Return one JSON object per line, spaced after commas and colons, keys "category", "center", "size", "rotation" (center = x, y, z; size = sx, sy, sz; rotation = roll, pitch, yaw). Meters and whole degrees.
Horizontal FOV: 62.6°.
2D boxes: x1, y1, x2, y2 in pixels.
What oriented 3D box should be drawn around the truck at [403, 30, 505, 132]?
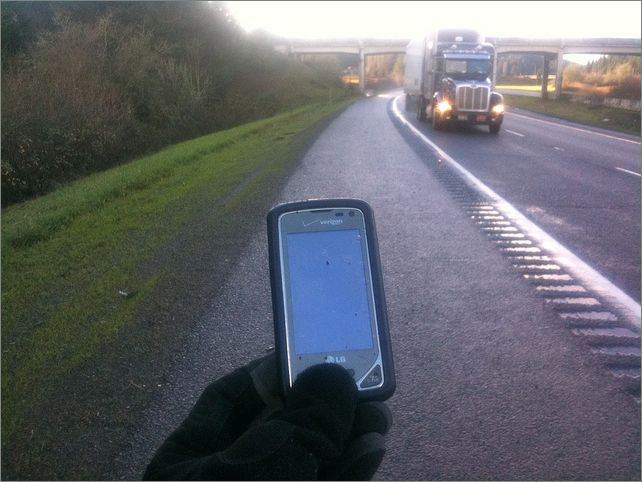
{"category": "truck", "center": [5.506, -7.680, 24.023], "size": [2.329, 4.315, 9.426], "rotation": [-1, 20, 0]}
